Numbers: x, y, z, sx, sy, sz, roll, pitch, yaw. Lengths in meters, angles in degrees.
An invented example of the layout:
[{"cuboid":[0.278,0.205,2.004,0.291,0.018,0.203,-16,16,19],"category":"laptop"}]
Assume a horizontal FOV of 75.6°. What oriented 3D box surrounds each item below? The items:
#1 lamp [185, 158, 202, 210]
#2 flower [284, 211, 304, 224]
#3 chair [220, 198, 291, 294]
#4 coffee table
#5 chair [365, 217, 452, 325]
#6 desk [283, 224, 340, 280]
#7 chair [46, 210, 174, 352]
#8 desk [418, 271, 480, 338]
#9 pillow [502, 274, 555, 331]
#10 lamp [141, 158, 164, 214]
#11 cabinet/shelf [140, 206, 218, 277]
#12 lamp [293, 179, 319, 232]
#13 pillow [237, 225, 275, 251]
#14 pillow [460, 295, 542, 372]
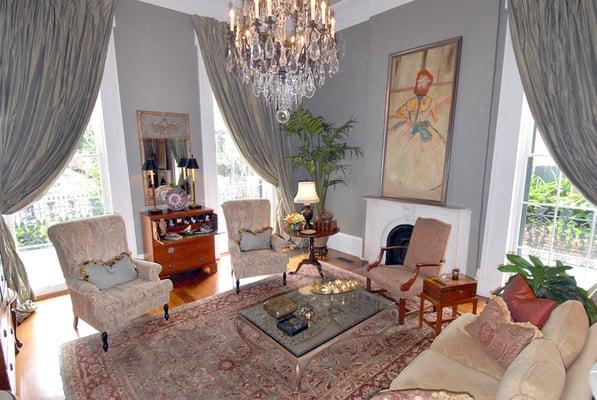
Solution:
[{"cuboid":[-1.879,-0.318,6.902,0.277,0.926,0.274,-6,6,-44],"category":"lamp"},{"cuboid":[-0.075,0.324,6.736,0.231,0.148,0.232,3,4,35],"category":"flower"},{"cuboid":[-0.779,0.720,6.500,1.008,1.345,1.034,-6,13,-29],"category":"chair"},{"cuboid":[0.103,1.362,4.850,1.664,0.547,1.147,-14,23,-37],"category":"coffee table"},{"cuboid":[1.614,0.974,5.771,1.072,1.325,1.021,-10,15,-36],"category":"chair"},{"cuboid":[0.224,0.943,6.922,1.004,0.833,1.002,3,-10,14],"category":"desk"},{"cuboid":[-2.607,1.032,5.378,1.429,1.418,1.079,8,15,37],"category":"chair"},{"cuboid":[2.072,1.439,5.315,0.685,0.648,0.438,-1,4,-25],"category":"desk"},{"cuboid":[2.508,1.131,4.247,0.143,0.446,0.456,29,15,-18],"category":"pillow"},{"cuboid":[-2.474,-0.296,6.485,0.250,0.922,0.374,-5,8,-21],"category":"lamp"},{"cuboid":[-2.059,0.729,6.777,1.205,1.131,0.840,-9,24,-42],"category":"cabinet/shelf"},{"cuboid":[0.151,0.060,7.028,0.402,0.831,1.136,-2,6,1],"category":"lamp"},{"cuboid":[-0.740,0.656,6.475,0.424,0.303,0.129,1,-5,-21],"category":"pillow"},{"cuboid":[2.215,1.452,4.206,0.204,0.649,0.672,30,12,-25],"category":"pillow"}]
